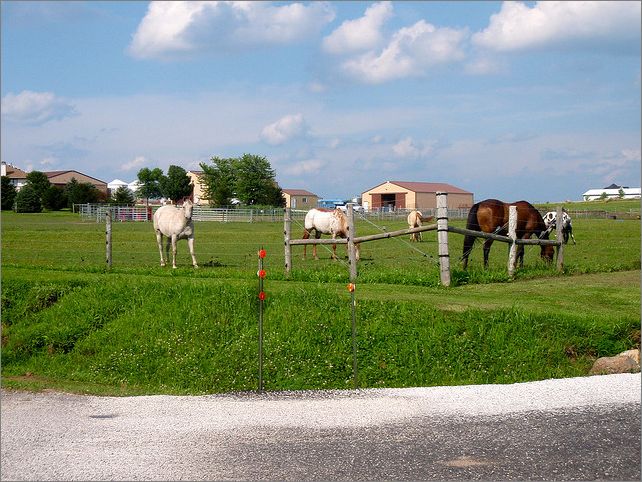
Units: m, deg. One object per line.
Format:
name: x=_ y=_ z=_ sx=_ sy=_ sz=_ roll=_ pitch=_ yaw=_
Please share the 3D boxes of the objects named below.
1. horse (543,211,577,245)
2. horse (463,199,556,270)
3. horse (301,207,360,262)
horse: x=10.539 y=-0.542 z=44.694 sx=0.462 sy=1.142 sz=1.973 roll=-1 pitch=7 yaw=-29
horse: x=6.141 y=-0.208 z=33.290 sx=2.532 sy=2.182 sz=3.678 roll=1 pitch=1 yaw=22
horse: x=0.384 y=-0.202 z=37.748 sx=3.033 sy=2.134 sz=0.733 roll=6 pitch=5 yaw=42
